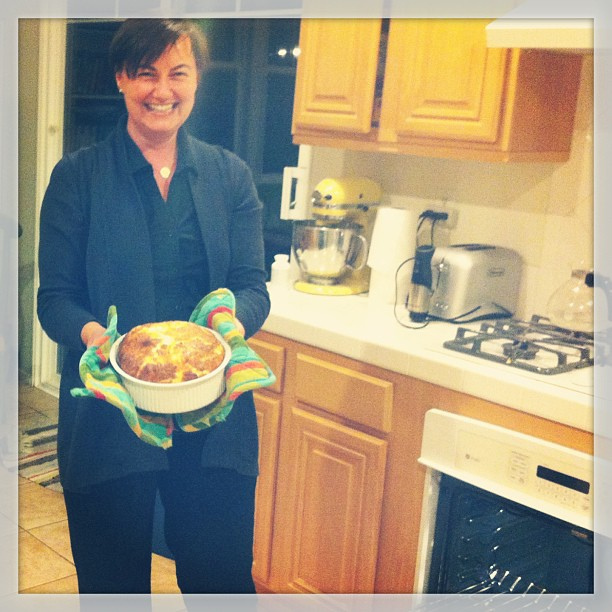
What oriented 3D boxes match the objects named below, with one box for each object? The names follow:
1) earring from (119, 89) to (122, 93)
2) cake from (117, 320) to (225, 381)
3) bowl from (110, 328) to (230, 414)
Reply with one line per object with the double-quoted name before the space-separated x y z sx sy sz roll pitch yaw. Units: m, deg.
"earring" -0.318 -0.370 1.052 0.004 0.005 0.002 -2 -12 39
"cake" -0.200 0.055 0.917 0.168 0.043 0.174 -5 26 -16
"bowl" -0.187 0.104 0.886 0.163 0.115 0.083 -1 13 -20
